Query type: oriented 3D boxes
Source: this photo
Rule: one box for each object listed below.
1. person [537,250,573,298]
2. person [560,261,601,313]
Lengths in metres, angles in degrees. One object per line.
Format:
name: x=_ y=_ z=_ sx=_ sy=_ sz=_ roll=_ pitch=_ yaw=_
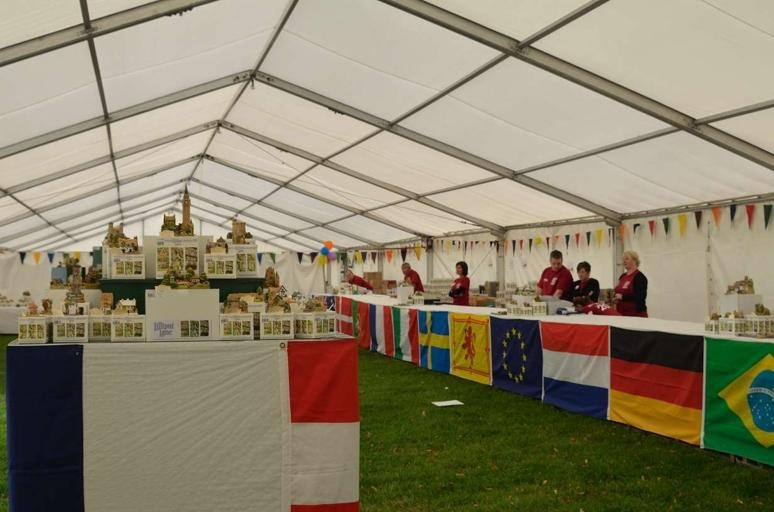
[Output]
person: x=2.637 y=0.271 z=11.225 sx=0.536 sy=0.809 sz=0.927 roll=2 pitch=10 yaw=12
person: x=3.119 y=0.723 z=11.401 sx=0.525 sy=1.248 sz=0.441 roll=0 pitch=6 yaw=39
